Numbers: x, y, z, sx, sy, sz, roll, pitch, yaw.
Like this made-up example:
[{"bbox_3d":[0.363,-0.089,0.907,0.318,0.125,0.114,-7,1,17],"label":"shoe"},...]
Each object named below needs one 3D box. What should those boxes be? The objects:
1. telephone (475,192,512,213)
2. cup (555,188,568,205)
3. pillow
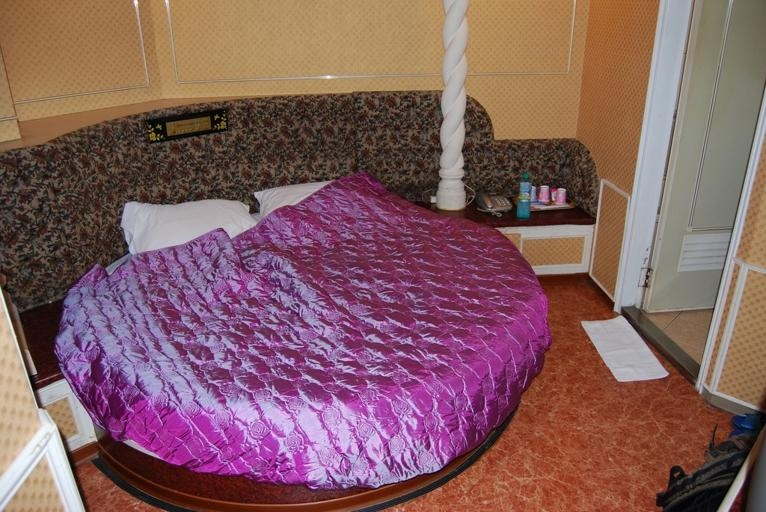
[{"bbox_3d":[1.174,-0.554,5.510,0.301,0.088,0.217,-3,40,-3],"label":"telephone"},{"bbox_3d":[1.870,-0.626,5.608,0.164,0.180,0.158,-5,28,3],"label":"cup"},{"bbox_3d":[-1.541,-0.392,4.782,1.329,0.398,0.716,-19,39,-28],"label":"pillow"}]
